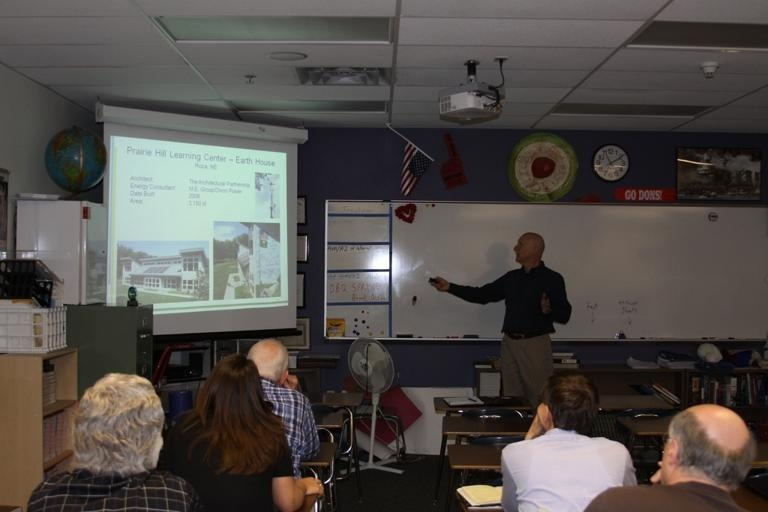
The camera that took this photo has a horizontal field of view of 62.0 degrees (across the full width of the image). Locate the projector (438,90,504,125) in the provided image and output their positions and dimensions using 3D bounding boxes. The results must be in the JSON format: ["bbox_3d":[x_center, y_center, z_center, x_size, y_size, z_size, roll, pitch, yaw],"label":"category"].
[{"bbox_3d":[0.760,-1.296,5.479,0.435,0.208,0.563,1,3,-34],"label":"projector"}]

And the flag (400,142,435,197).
[{"bbox_3d":[0.375,-0.987,7.139,0.425,0.526,0.055,27,1,-4],"label":"flag"}]

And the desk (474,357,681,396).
[{"bbox_3d":[2.515,1.323,7.390,1.921,0.494,1.000,-1,-6,1],"label":"desk"}]

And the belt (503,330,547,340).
[{"bbox_3d":[1.458,0.814,6.515,0.426,0.069,0.142,-1,-3,10],"label":"belt"}]

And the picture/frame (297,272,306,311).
[{"bbox_3d":[-0.921,0.382,7.131,0.086,0.395,0.052,0,-3,-16],"label":"picture/frame"}]

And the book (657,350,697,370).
[{"bbox_3d":[3.177,1.136,6.912,0.291,0.113,0.198,3,-4,3],"label":"book"}]

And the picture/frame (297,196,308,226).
[{"bbox_3d":[-0.901,-0.510,7.146,0.108,0.312,0.026,0,-2,-7],"label":"picture/frame"}]

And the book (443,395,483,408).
[{"bbox_3d":[0.725,1.316,5.741,0.346,0.051,0.221,0,-3,-9],"label":"book"}]

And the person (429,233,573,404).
[{"bbox_3d":[1.376,0.655,6.640,0.432,1.758,1.045,2,-3,-44],"label":"person"}]

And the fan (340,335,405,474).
[{"bbox_3d":[-0.066,1.510,6.440,0.514,1.384,0.722,-1,-2,1],"label":"fan"}]

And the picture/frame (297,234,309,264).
[{"bbox_3d":[-0.899,-0.085,7.134,0.125,0.320,0.045,0,-2,-8],"label":"picture/frame"}]
